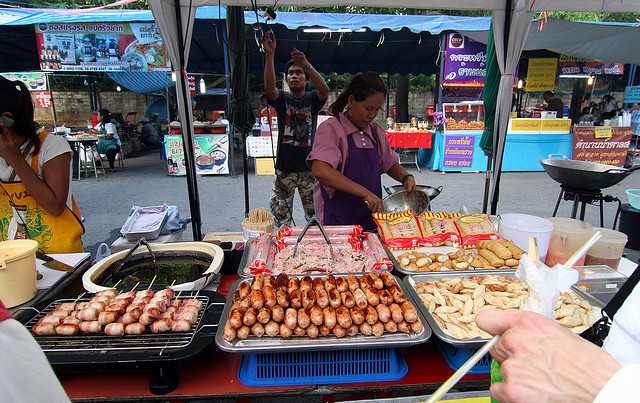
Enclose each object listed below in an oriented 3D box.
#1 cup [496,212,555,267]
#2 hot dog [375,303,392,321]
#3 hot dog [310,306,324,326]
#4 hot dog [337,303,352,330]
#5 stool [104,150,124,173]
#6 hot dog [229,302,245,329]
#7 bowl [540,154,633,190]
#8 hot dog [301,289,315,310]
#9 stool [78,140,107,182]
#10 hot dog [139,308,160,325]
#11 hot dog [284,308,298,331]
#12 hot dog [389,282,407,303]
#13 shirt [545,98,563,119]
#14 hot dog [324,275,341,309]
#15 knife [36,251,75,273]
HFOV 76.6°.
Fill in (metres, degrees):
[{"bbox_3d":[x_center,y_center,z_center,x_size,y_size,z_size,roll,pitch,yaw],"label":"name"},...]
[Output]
[{"bbox_3d":[1.549,0.299,3.076,0.399,0.390,0.381,1,9,0],"label":"cup"},{"bbox_3d":[0.396,0.686,2.538,0.088,0.063,0.094,-4,19,-7],"label":"hot dog"},{"bbox_3d":[-0.023,0.698,2.494,0.063,0.052,0.111,9,9,-18],"label":"hot dog"},{"bbox_3d":[0.144,0.703,2.495,0.067,0.044,0.128,-8,33,-5],"label":"hot dog"},{"bbox_3d":[-5.604,-1.032,11.010,0.487,0.806,0.429,-4,11,-7],"label":"stool"},{"bbox_3d":[-0.519,0.702,2.516,0.072,0.053,0.147,-10,37,-5],"label":"hot dog"},{"bbox_3d":[2.903,-0.286,4.533,0.835,0.314,0.615,9,22,30],"label":"bowl"},{"bbox_3d":[-0.085,0.612,2.556,0.085,0.050,0.102,-1,30,4],"label":"hot dog"},{"bbox_3d":[-5.698,-1.094,10.100,0.789,0.856,0.785,-17,16,-32],"label":"stool"},{"bbox_3d":[-1.082,0.725,2.572,0.127,0.091,0.038,-8,21,-16],"label":"hot dog"},{"bbox_3d":[-0.177,0.720,2.492,0.065,0.054,0.120,1,57,9],"label":"hot dog"},{"bbox_3d":[0.504,0.596,2.679,0.073,0.039,0.134,-1,12,1],"label":"hot dog"},{"bbox_3d":[6.133,-2.437,10.623,0.258,0.428,0.447,-6,20,-10],"label":"shirt"},{"bbox_3d":[0.083,0.586,2.675,0.090,0.067,0.293,-10,27,-1],"label":"hot dog"},{"bbox_3d":[-2.019,0.469,3.104,0.465,0.046,0.122,17,29,37],"label":"knife"}]
